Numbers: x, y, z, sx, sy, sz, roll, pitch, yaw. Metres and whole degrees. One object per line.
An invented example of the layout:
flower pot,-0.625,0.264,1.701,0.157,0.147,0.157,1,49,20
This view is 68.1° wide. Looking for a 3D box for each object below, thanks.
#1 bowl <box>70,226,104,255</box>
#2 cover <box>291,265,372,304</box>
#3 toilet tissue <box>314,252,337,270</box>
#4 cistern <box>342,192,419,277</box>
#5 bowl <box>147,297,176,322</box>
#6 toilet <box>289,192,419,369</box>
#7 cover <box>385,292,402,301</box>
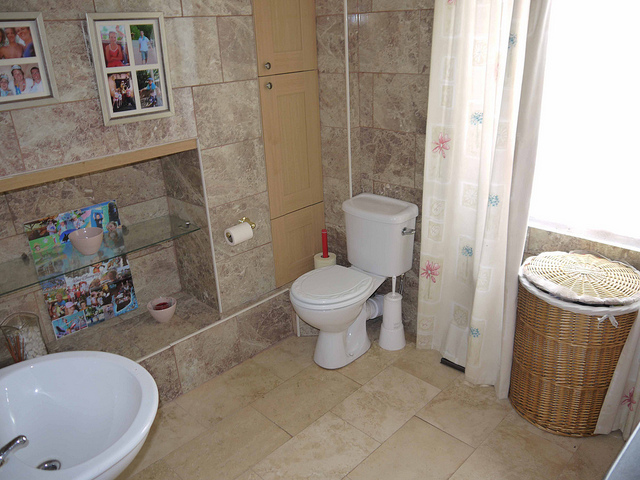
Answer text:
bowl,-1.336,-0.014,2.730,0.176,0.114,0.277,-14,31,-23
cover,0.066,0.280,3.002,0.477,0.043,0.402,-22,35,-34
toilet tissue,0.050,0.124,3.325,0.111,0.077,0.112,-18,26,-37
cistern,0.403,-0.044,3.200,0.523,0.450,0.338,18,30,38
bowl,-1.008,0.439,3.035,0.167,0.101,0.189,-13,30,-21
toilet,0.107,0.093,3.436,1.113,1.204,0.730,-20,29,-41
cover,0.489,0.382,3.160,0.059,0.059,0.058,-17,23,-42
